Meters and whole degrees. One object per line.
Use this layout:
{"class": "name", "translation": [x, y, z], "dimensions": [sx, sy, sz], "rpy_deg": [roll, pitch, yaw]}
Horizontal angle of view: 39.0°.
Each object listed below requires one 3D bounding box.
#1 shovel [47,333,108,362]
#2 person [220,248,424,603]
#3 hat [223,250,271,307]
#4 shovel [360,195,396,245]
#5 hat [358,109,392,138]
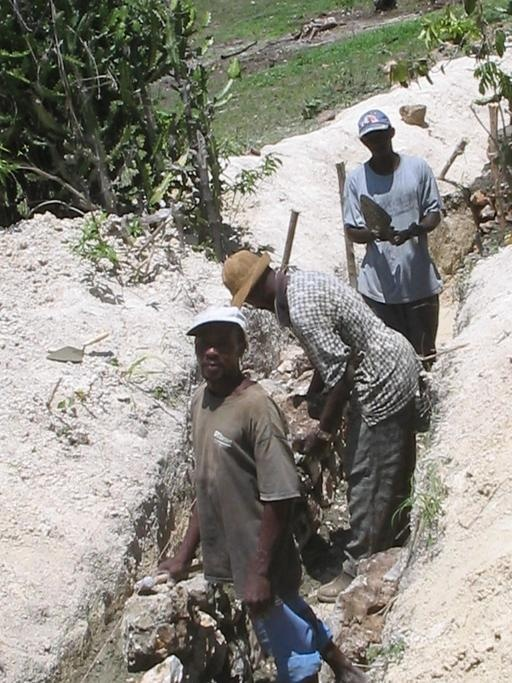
{"class": "shovel", "translation": [-0.998, 0.043, 3.960], "dimensions": [0.213, 0.062, 0.300], "rpy_deg": [-1, 22, 18]}
{"class": "person", "translation": [0.303, 0.228, 2.896], "dimensions": [0.704, 1.282, 0.500], "rpy_deg": [-7, 19, 7]}
{"class": "hat", "translation": [-0.032, -0.223, 2.642], "dimensions": [0.176, 0.194, 0.204], "rpy_deg": [-8, 21, -2]}
{"class": "shovel", "translation": [0.643, -0.632, 3.821], "dimensions": [0.119, 0.306, 0.091], "rpy_deg": [4, 66, 27]}
{"class": "hat", "translation": [0.634, -1.159, 3.880], "dimensions": [0.140, 0.100, 0.191], "rpy_deg": [-17, 4, 27]}
